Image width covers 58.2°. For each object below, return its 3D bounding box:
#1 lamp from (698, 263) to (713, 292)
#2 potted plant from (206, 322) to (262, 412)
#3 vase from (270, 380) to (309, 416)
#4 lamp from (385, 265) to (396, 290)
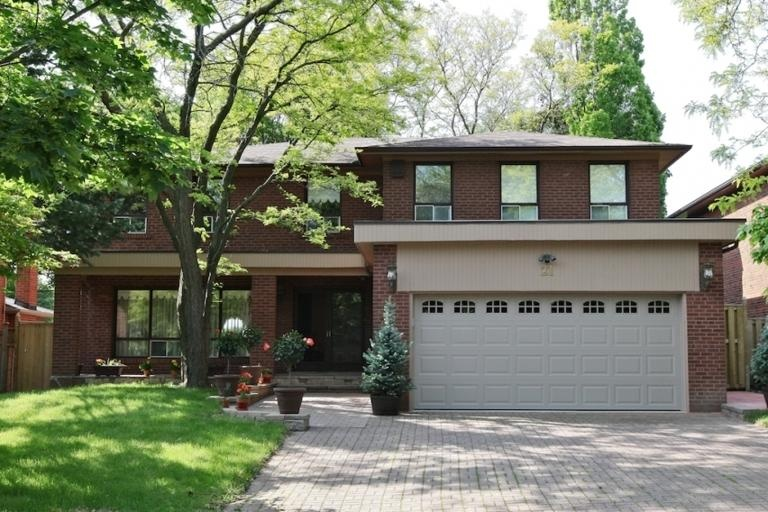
[{"bbox_3d":[9.535,0.618,20.293,0.487,0.810,0.257,2,1,-7],"label":"lamp"},{"bbox_3d":[-4.985,3.795,23.174,2.108,2.591,1.724,0,-20,-6],"label":"potted plant"},{"bbox_3d":[-2.636,3.867,18.678,1.037,0.748,1.019,-1,-6,11],"label":"vase"},{"bbox_3d":[0.235,0.679,20.531,0.344,0.640,0.404,2,0,0],"label":"lamp"}]
